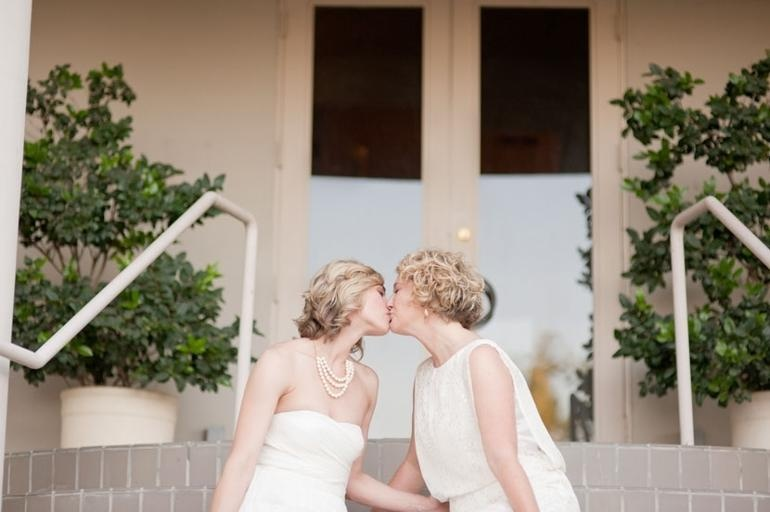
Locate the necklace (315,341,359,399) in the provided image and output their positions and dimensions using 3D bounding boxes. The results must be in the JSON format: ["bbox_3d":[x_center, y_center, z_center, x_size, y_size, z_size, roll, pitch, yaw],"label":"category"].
[{"bbox_3d":[-0.247,0.565,5.562,0.165,0.247,0.052,24,-30,-29],"label":"necklace"}]

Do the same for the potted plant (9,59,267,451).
[{"bbox_3d":[-1.693,0.015,7.969,1.675,3.167,1.970,3,-19,-9],"label":"potted plant"}]
